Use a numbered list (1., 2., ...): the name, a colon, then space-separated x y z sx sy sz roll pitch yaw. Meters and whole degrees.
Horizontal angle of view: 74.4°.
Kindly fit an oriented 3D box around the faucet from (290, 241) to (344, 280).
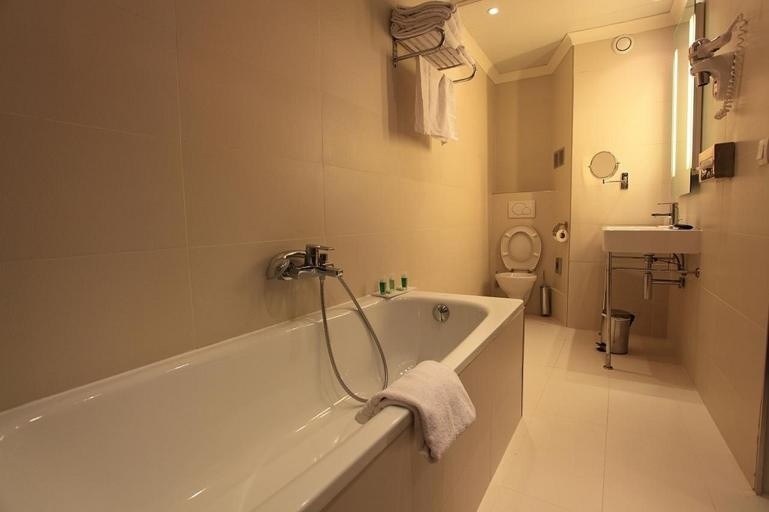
1. faucet: -0.369 0.020 2.654 0.253 0.152 0.264 -3 11 -16

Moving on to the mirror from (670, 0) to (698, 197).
1. mirror: 2.164 -1.103 3.680 0.134 1.343 0.877 3 11 27

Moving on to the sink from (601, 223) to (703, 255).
1. sink: 1.823 -0.090 3.468 0.580 0.212 0.267 4 11 33

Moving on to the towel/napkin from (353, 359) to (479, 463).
1. towel/napkin: 0.164 0.539 1.994 0.369 0.188 0.388 6 10 40

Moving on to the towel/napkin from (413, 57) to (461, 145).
1. towel/napkin: 0.375 -1.044 3.497 0.099 0.495 0.625 7 8 30

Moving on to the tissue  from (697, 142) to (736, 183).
1. tissue : 1.883 -0.523 2.889 0.098 0.200 0.301 -1 3 21

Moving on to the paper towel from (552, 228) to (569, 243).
1. paper towel: 1.575 -0.176 4.547 0.099 0.118 0.122 6 0 15
